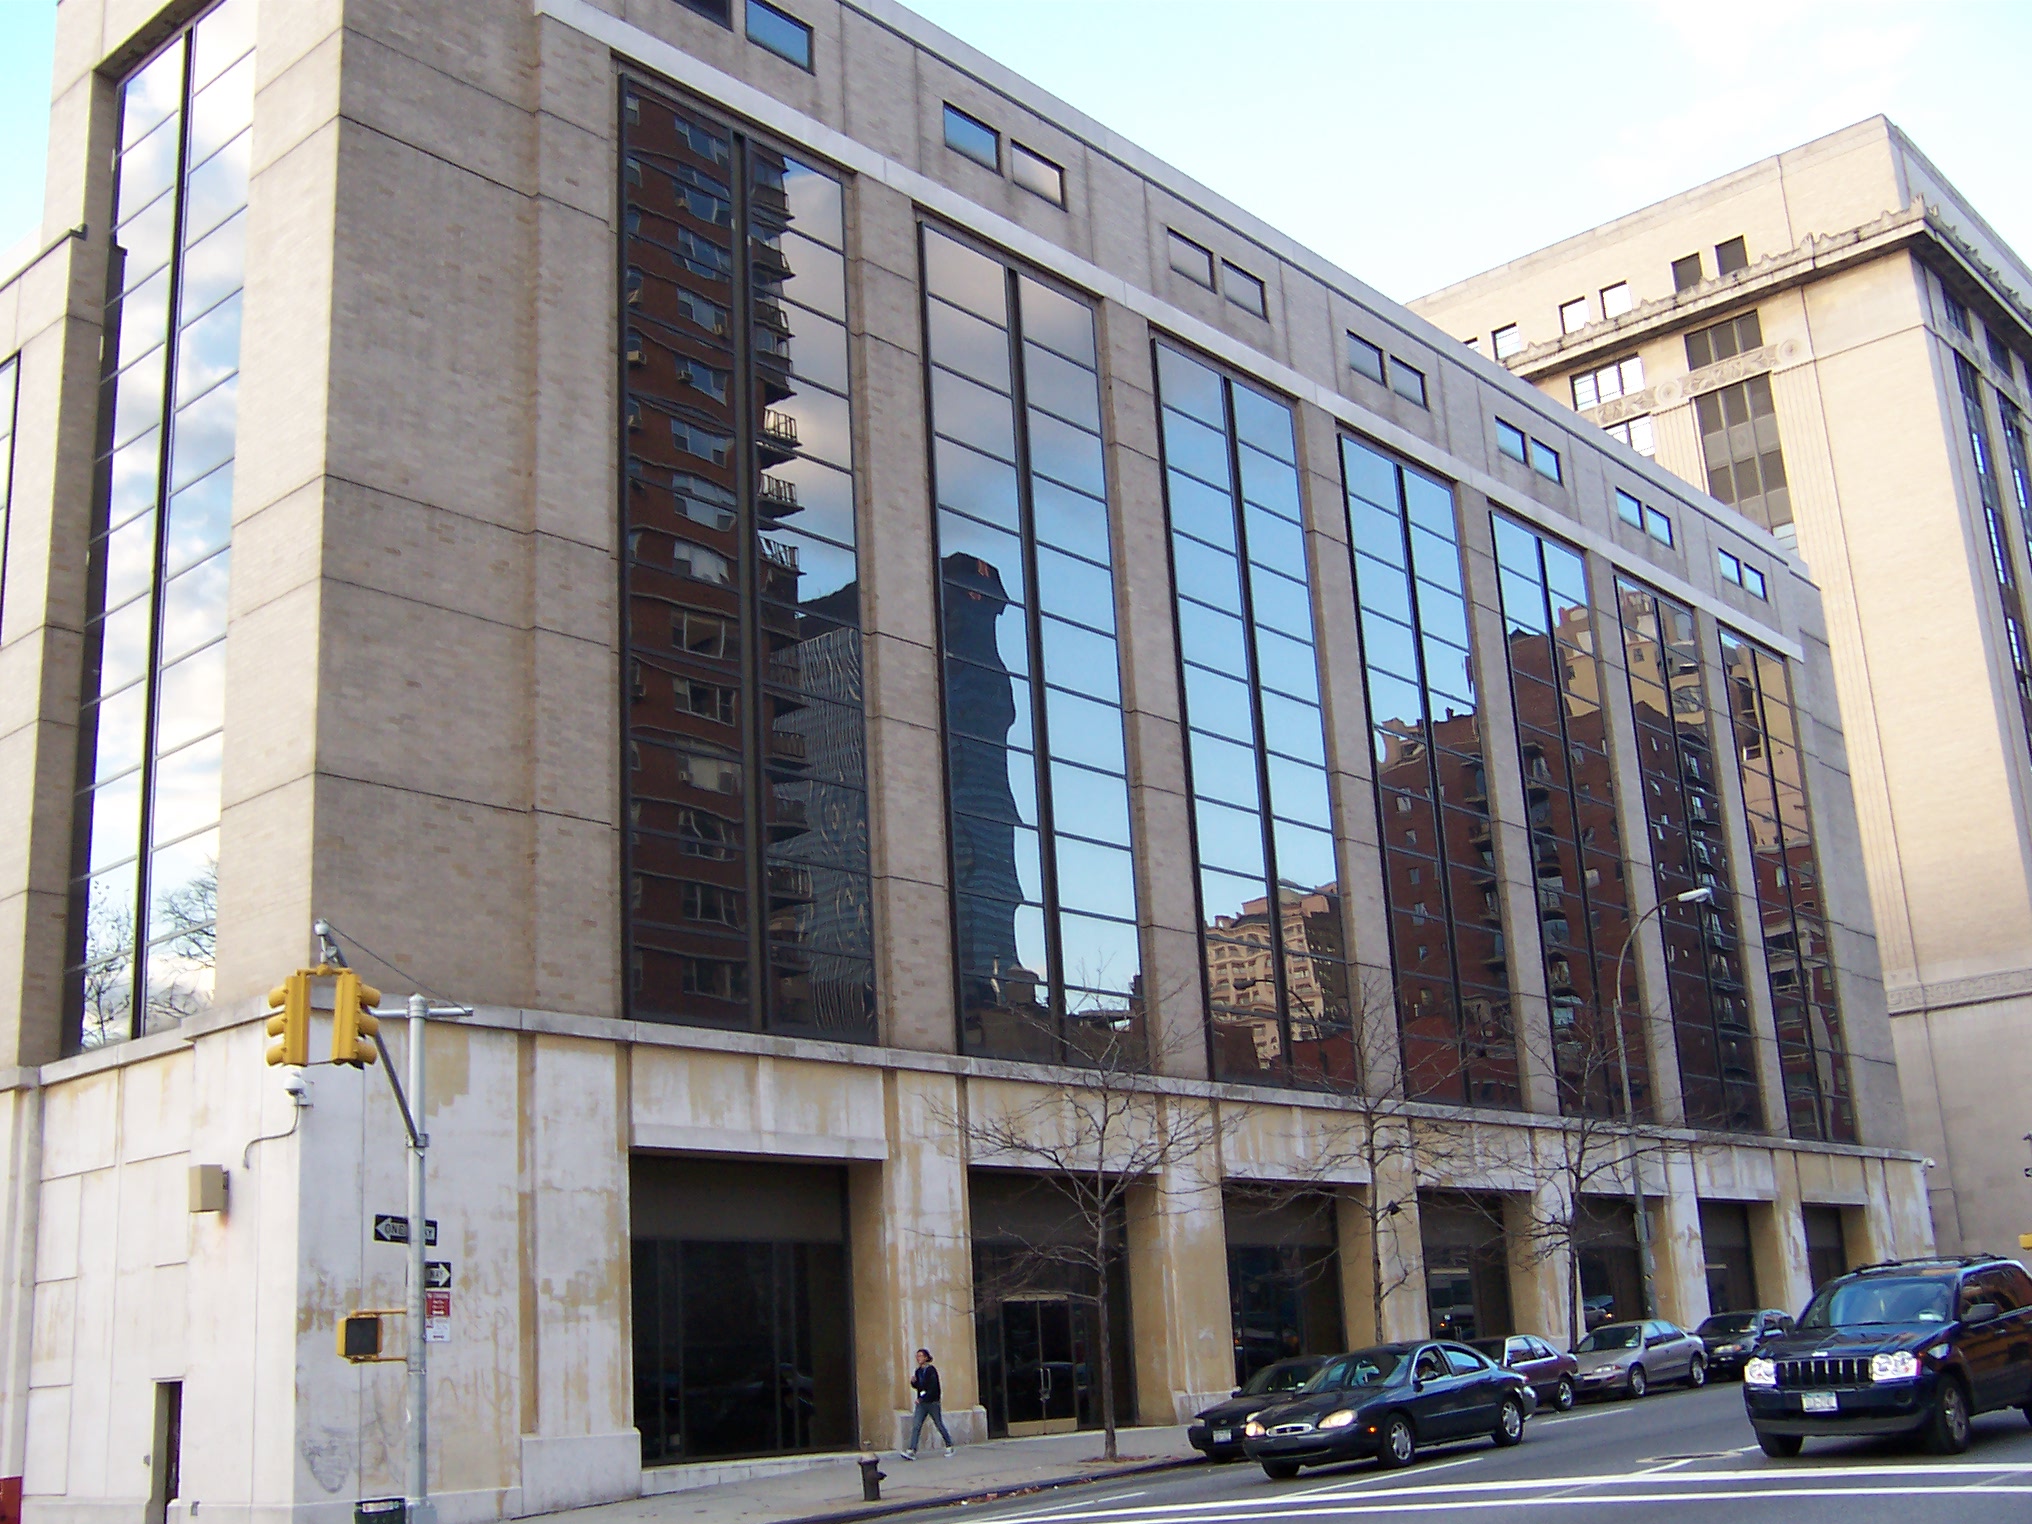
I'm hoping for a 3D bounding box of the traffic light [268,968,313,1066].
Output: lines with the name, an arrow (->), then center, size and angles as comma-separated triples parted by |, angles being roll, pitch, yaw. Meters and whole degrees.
traffic light -> -10.175, 3.566, 29.991 | 0.508, 1.367, 0.536 | -4, -22, -10
